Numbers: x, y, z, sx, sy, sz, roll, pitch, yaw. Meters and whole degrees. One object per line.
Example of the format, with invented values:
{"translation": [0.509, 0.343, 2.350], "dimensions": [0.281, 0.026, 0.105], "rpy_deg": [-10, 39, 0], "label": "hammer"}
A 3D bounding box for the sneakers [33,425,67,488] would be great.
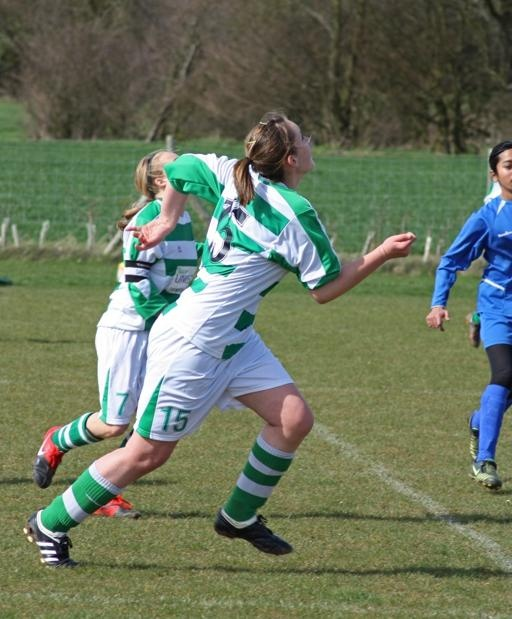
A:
{"translation": [-1.092, 0.795, 5.724], "dimensions": [0.186, 0.328, 0.137], "rpy_deg": [-8, -31, 28], "label": "sneakers"}

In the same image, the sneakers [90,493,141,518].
{"translation": [-0.695, 1.012, 5.386], "dimensions": [0.254, 0.085, 0.244], "rpy_deg": [1, 0, 7], "label": "sneakers"}

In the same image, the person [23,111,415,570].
{"translation": [-0.150, 0.144, 4.805], "dimensions": [1.495, 2.034, 0.490], "rpy_deg": [0, 14, -9], "label": "person"}
